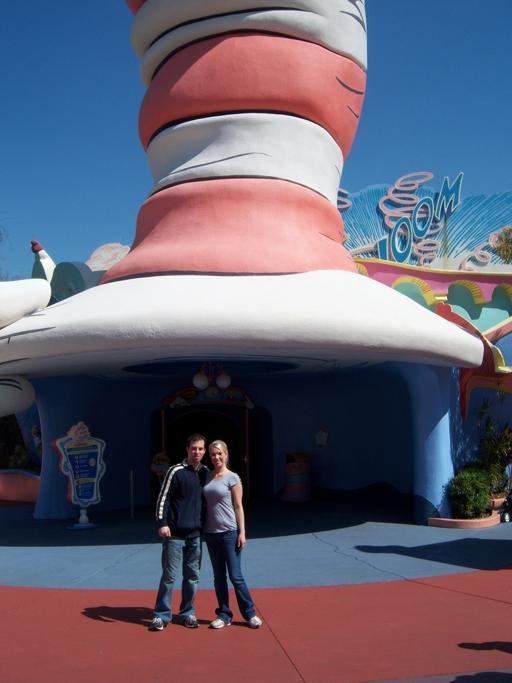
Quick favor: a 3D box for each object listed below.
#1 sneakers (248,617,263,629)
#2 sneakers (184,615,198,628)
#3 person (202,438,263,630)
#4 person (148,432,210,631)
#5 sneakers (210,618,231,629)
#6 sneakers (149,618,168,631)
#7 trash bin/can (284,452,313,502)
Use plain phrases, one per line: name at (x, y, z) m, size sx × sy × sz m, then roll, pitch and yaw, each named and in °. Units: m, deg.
sneakers at (-0.006, 2.307, 4.653) m, size 0.128 × 0.086 × 0.041 m, roll -5°, pitch 1°, yaw -4°
sneakers at (-0.523, 2.291, 4.625) m, size 0.064 × 0.058 × 0.133 m, roll 4°, pitch -18°, yaw -10°
person at (-0.199, 1.594, 4.660) m, size 0.444 × 1.533 × 0.478 m, roll -1°, pitch -10°, yaw 4°
person at (-0.600, 1.559, 4.642) m, size 0.454 × 1.553 × 0.419 m, roll 2°, pitch -10°, yaw -14°
sneakers at (-0.288, 2.307, 4.648) m, size 0.160 × 0.072 × 0.066 m, roll 5°, pitch -13°, yaw -16°
sneakers at (-0.797, 2.299, 4.609) m, size 0.085 × 0.066 × 0.151 m, roll 3°, pitch -6°, yaw 0°
trash bin/can at (0.958, 3.145, 13.105) m, size 0.635 × 1.063 × 0.422 m, roll 0°, pitch -10°, yaw -2°
